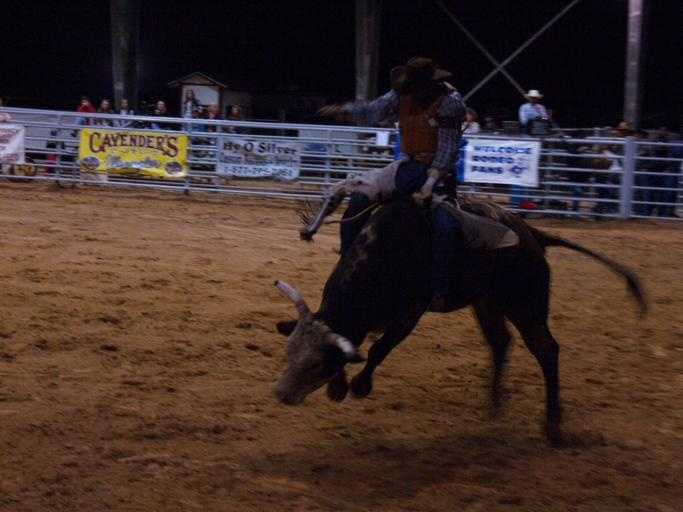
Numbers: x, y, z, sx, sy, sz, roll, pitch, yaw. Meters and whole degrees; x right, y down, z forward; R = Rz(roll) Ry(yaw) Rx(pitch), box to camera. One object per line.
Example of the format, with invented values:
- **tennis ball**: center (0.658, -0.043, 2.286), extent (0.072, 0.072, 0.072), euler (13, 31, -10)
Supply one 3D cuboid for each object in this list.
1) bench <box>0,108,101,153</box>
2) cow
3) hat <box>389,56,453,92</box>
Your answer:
- **bench**: center (-6.292, -2.781, 15.366), extent (2.736, 1.052, 0.585), euler (2, 5, -3)
- **cow**: center (0.716, 0.560, 5.815), extent (2.791, 2.113, 0.839), euler (-1, 8, -28)
- **hat**: center (0.704, -1.543, 5.917), extent (0.492, 0.107, 0.330), euler (-14, 34, -9)
